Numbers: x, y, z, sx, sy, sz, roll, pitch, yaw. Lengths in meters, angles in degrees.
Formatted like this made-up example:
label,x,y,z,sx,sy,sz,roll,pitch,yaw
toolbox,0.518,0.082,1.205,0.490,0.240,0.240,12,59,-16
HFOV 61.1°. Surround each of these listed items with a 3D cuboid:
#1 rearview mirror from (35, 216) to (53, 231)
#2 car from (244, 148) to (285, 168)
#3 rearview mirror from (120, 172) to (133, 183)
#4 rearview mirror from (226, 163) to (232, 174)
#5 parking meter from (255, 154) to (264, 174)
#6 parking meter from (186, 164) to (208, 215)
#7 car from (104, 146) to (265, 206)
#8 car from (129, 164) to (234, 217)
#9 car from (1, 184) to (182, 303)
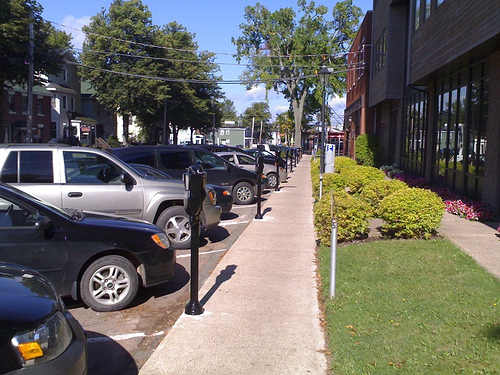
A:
label,x,y,z,sx,sy,sz,roll,pitch,yaw
rearview mirror,-2.553,0.442,5.260,0.189,0.195,0.149,-8,8,-30
car,1.008,-1.625,24.152,2.918,1.220,1.436,1,8,11
rearview mirror,-2.329,-0.177,8.043,0.153,0.232,0.208,3,1,24
rearview mirror,-0.711,-0.670,14.645,0.179,0.281,0.086,11,6,43
parking meter,0.277,-0.672,12.287,0.186,0.543,0.490,-3,7,3
parking meter,-0.701,0.033,5.767,0.183,0.673,0.386,1,9,33
car,-2.255,-0.407,10.814,2.273,1.015,0.959,-3,-11,4
car,-1.695,0.068,10.853,2.489,1.043,1.202,1,4,-2
car,-2.094,0.724,5.945,2.392,1.190,1.276,-1,3,-13
